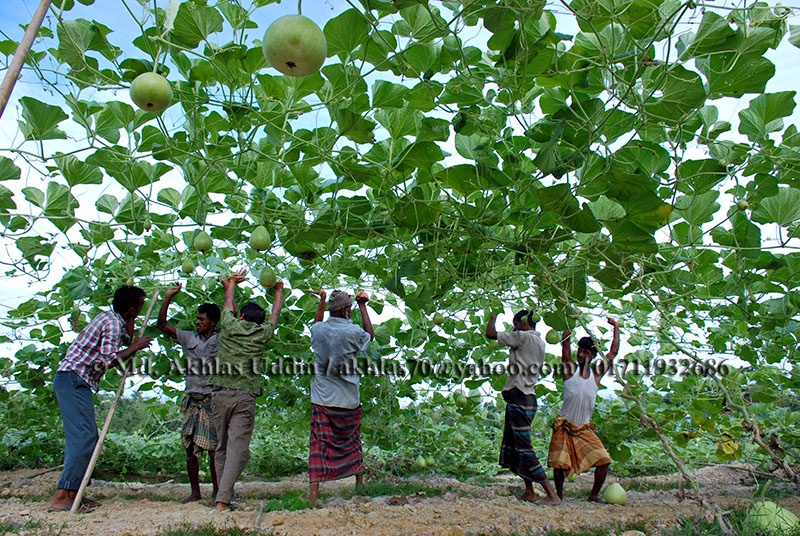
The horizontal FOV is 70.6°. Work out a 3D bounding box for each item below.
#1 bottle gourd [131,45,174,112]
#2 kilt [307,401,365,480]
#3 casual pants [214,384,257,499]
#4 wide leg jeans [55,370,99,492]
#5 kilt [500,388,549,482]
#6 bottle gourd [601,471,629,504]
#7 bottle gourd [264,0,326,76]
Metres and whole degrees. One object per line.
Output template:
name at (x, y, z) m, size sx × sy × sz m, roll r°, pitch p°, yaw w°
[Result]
bottle gourd at (-1.690, -1.328, 3.910) m, size 0.238 × 0.481 × 0.212 m, roll 11°, pitch -20°, yaw -29°
kilt at (-0.665, 1.799, 5.745) m, size 0.560 × 0.794 × 0.236 m, roll 5°, pitch -6°, yaw -29°
casual pants at (-1.696, 1.749, 5.565) m, size 0.449 × 1.071 × 0.372 m, roll -13°, pitch -22°, yaw 38°
wide leg jeans at (-3.102, 1.557, 5.391) m, size 0.456 × 1.105 × 0.257 m, roll 10°, pitch -19°, yaw -25°
kilt at (1.327, 1.820, 6.166) m, size 0.434 × 0.969 × 0.451 m, roll -1°, pitch -17°, yaw 5°
bottle gourd at (2.315, 2.432, 6.104) m, size 0.222 × 0.211 × 0.366 m, roll -4°, pitch -17°, yaw 14°
bottle gourd at (-0.716, -1.527, 3.808) m, size 0.387 × 0.429 × 0.345 m, roll -12°, pitch -21°, yaw 36°
